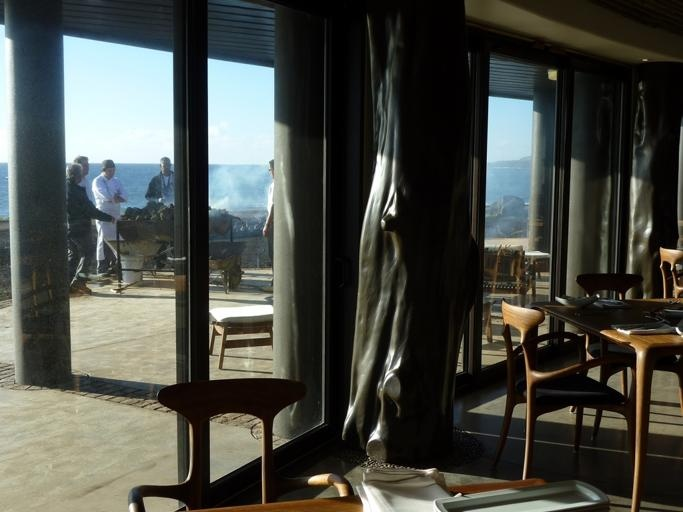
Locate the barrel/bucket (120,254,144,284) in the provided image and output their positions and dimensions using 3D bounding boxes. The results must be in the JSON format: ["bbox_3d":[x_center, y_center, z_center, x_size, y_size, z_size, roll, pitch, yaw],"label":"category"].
[{"bbox_3d":[-1.020,0.068,2.865,0.107,0.126,0.117,-1,-5,0],"label":"barrel/bucket"}]
